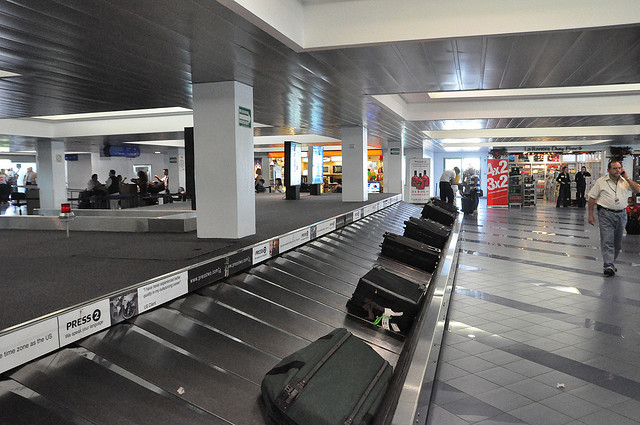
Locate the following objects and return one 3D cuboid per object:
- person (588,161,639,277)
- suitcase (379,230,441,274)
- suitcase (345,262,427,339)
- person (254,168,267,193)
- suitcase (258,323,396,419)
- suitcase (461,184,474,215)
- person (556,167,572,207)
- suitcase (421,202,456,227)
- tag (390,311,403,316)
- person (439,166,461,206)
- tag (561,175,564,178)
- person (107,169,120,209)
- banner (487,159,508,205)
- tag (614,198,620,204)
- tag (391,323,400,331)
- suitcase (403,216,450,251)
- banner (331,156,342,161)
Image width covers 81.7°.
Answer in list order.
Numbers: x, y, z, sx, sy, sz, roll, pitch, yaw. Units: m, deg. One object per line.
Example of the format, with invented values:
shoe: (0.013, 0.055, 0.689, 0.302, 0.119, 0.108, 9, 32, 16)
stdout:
person: (5.461, 0.160, 6.991, 0.750, 2.241, 0.415, 1, 8, 19)
suitcase: (1.659, 0.784, 6.862, 0.923, 0.254, 0.668, 18, 9, 18)
suitcase: (0.863, 1.079, 4.683, 0.877, 0.549, 0.888, 24, 27, 7)
person: (-3.728, -1.978, 23.010, 0.512, 1.399, 2.610, -3, 7, -8)
suitcase: (0.086, 1.325, 2.903, 1.044, 0.514, 0.622, -5, 8, -22)
suitcase: (7.151, -0.539, 18.035, 0.638, 1.306, 0.481, -1, 7, 8)
person: (13.712, -1.396, 20.917, 0.643, 2.296, 1.336, 3, 8, 32)
suitcase: (3.344, 0.041, 10.465, 0.817, 0.239, 0.623, 23, 37, 10)
tag: (0.916, 1.213, 4.433, 0.161, 0.060, 0.011, 3, -6, 12)
person: (5.469, -1.114, 15.660, 0.580, 1.579, 0.967, -3, 7, -11)
tag: (13.304, -1.998, 20.410, 0.086, 0.137, 0.137, -6, 8, -29)
person: (-8.284, -0.920, 14.855, 0.428, 1.514, 2.477, -6, 8, -28)
banner: (10.669, -1.809, 22.374, 1.130, 2.623, 1.058, 1, 8, 22)
tag: (5.397, -0.217, 6.762, 0.121, 0.135, 0.015, 0, 12, 20)
tag: (0.900, 1.393, 4.468, 0.096, 0.093, 0.012, 0, 7, 10)
suitcase: (2.265, 0.452, 7.907, 0.905, 0.256, 0.671, 18, 21, 5)
banner: (1.325, -4.687, 31.924, 1.176, 0.367, 1.146, 1, 3, 9)
